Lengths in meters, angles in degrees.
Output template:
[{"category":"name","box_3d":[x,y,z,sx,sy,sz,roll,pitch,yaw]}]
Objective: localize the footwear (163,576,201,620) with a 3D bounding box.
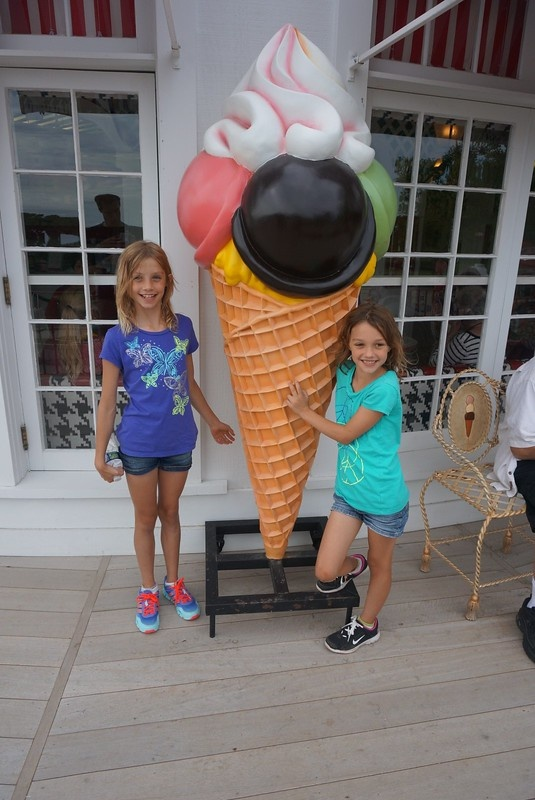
[{"category":"footwear","box_3d":[-0.336,0.783,2.498,0.082,0.093,0.207,-4,6,-34]}]

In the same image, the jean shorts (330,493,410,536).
[{"category":"jean shorts","box_3d":[0.371,0.416,2.243,0.238,0.163,0.131,8,58,7]}]

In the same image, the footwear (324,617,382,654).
[{"category":"footwear","box_3d":[0.305,0.850,2.353,0.239,0.102,0.088,-6,18,-21]}]

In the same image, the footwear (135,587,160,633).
[{"category":"footwear","box_3d":[-0.449,0.793,2.372,0.072,0.080,0.180,3,13,-15]}]

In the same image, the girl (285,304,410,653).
[{"category":"girl","box_3d":[0.276,0.269,2.253,0.466,1.182,0.373,4,3,10]}]

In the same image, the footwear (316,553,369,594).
[{"category":"footwear","box_3d":[0.296,0.650,2.440,0.280,0.106,0.093,-5,8,-43]}]
